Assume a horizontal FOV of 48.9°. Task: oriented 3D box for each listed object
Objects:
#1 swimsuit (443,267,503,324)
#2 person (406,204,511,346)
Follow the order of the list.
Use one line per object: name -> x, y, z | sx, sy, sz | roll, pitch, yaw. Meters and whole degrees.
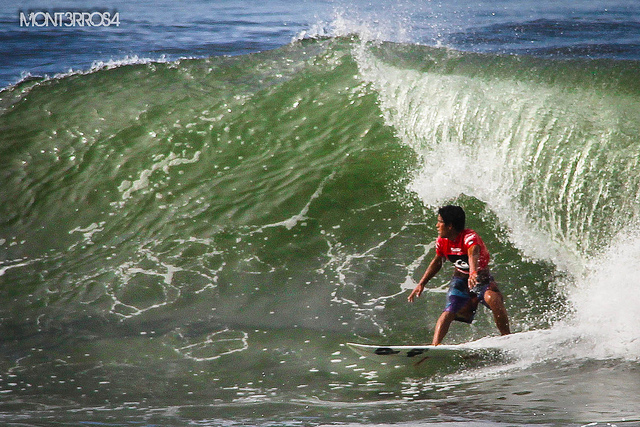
swimsuit -> 2.532, 1.397, 11.616 | 0.786, 0.999, 0.413 | 7, 22, 11
person -> 2.351, 0.989, 11.507 | 0.816, 2.145, 1.335 | -17, 28, -40
